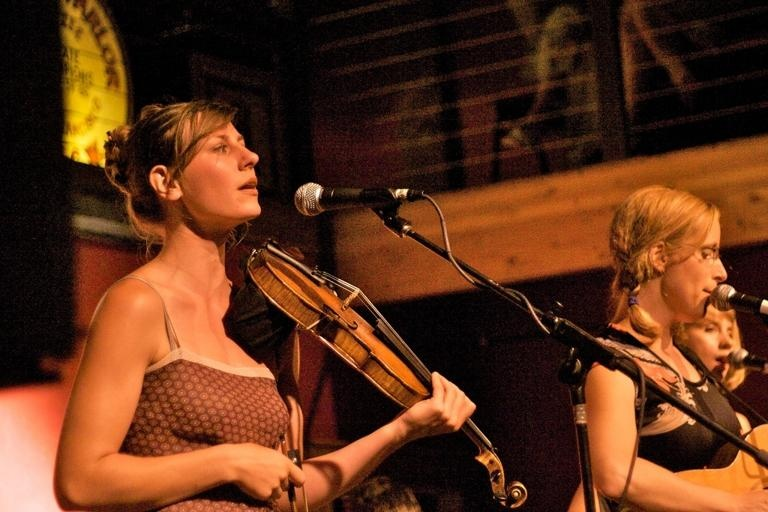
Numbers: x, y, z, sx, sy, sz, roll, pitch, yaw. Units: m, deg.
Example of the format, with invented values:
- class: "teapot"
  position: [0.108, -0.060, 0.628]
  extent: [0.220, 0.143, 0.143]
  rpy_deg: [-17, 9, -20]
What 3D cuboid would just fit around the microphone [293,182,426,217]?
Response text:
- class: "microphone"
  position: [-0.141, -0.238, 4.007]
  extent: [0.635, 0.161, 0.192]
  rpy_deg: [-3, -1, 22]
